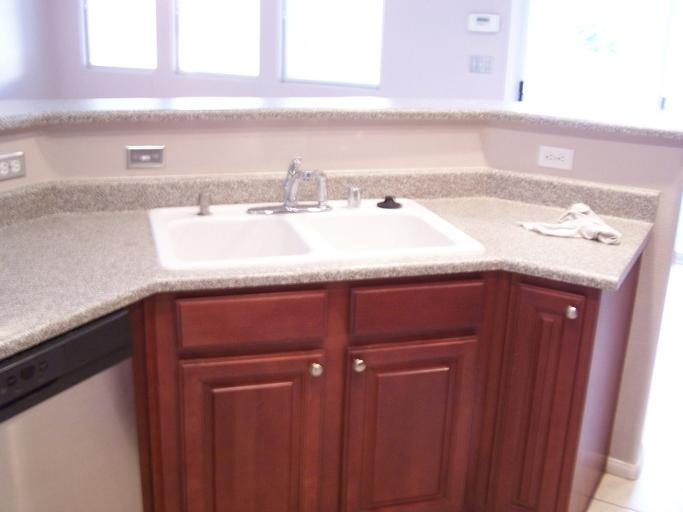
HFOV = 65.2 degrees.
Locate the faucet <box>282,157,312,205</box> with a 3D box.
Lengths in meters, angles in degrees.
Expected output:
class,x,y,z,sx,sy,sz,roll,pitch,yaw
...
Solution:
class,x,y,z,sx,sy,sz,roll,pitch,yaw
faucet,-0.171,-0.283,1.977,0.102,0.186,0.088,-23,41,-36
